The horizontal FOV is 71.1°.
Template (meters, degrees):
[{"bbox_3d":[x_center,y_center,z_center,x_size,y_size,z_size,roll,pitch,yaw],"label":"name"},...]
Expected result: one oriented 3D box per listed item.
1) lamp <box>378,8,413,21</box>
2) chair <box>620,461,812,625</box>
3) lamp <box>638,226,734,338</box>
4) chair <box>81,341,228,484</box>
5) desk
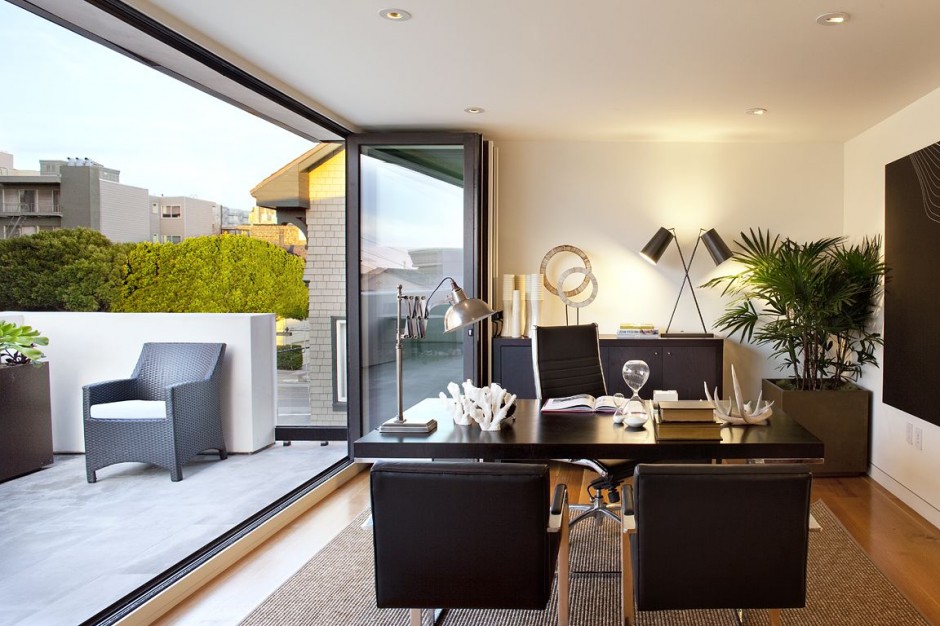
[{"bbox_3d":[-0.468,-1.908,4.208,0.178,0.041,0.147,-1,0,24],"label":"lamp"},{"bbox_3d":[1.263,1.171,3.710,0.785,1.013,0.810,0,-2,6],"label":"chair"},{"bbox_3d":[2.246,-0.331,6.715,1.132,1.335,0.279,0,-4,3],"label":"lamp"},{"bbox_3d":[-3.088,0.842,6.381,0.996,1.422,1.318,-2,-5,7],"label":"chair"},{"bbox_3d":[0.723,0.804,4.217,2.742,0.314,0.611,-1,0,3],"label":"desk"}]
